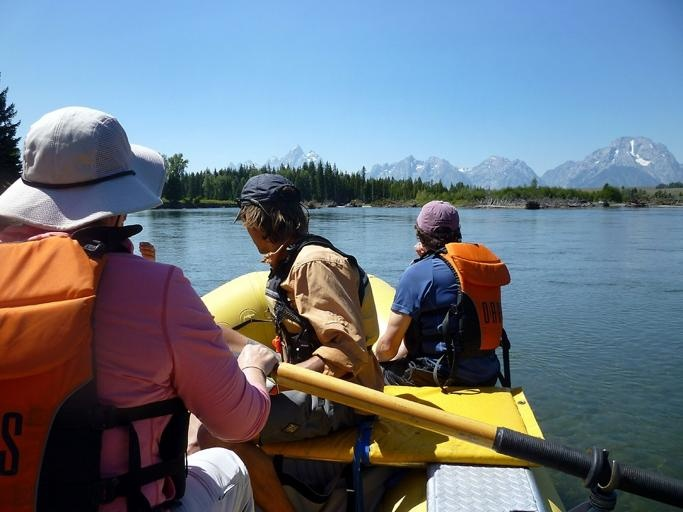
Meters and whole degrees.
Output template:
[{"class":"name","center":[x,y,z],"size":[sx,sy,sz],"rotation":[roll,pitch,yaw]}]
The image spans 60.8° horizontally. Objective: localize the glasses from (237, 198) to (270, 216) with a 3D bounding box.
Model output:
[{"class":"glasses","center":[-0.513,-0.297,3.375],"size":[0.114,0.128,0.037],"rotation":[3,0,8]}]

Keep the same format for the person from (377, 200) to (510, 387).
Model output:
[{"class":"person","center":[0.724,0.308,4.265],"size":[0.958,1.398,0.806],"rotation":[0,5,16]}]

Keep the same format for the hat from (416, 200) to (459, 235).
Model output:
[{"class":"hat","center":[0.752,-0.301,4.537],"size":[0.221,0.184,0.323],"rotation":[-1,9,4]}]

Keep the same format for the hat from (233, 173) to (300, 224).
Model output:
[{"class":"hat","center":[-0.442,-0.333,3.456],"size":[0.292,0.204,0.271],"rotation":[3,2,33]}]
